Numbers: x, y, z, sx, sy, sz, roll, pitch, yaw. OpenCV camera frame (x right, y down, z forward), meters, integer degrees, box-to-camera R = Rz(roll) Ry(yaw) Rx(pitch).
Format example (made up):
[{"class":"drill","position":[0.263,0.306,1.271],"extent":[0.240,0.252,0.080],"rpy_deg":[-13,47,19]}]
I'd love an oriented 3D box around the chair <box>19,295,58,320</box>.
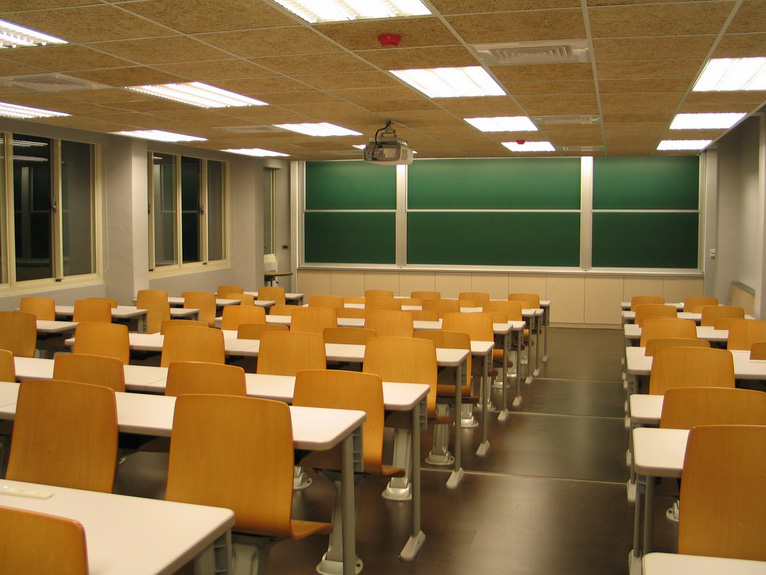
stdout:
[{"class":"chair","position":[-4.274,0.246,7.092],"extent":[0.289,0.211,0.284],"rpy_deg":[3,7,5]}]

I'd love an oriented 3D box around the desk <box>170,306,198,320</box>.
[{"class":"desk","position":[-2.631,0.376,7.574],"extent":[0.343,0.202,1.016],"rpy_deg":[-1,5,-19]}]

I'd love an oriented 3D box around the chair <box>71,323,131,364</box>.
[{"class":"chair","position":[-2.322,0.453,4.730],"extent":[0.336,0.427,0.341],"rpy_deg":[2,3,-7]}]

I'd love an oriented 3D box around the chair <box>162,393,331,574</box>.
[{"class":"chair","position":[-0.563,0.821,2.761],"extent":[0.734,0.765,0.593],"rpy_deg":[1,-2,14]}]

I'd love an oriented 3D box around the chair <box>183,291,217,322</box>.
[{"class":"chair","position":[-2.597,0.254,8.216],"extent":[0.498,0.645,0.522],"rpy_deg":[0,-2,-9]}]

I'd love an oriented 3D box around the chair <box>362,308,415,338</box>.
[{"class":"chair","position":[0.067,0.362,6.033],"extent":[0.327,0.422,0.333],"rpy_deg":[2,0,10]}]

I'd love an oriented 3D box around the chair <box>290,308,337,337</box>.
[{"class":"chair","position":[-0.765,0.342,6.217],"extent":[0.350,0.382,0.320],"rpy_deg":[1,1,2]}]

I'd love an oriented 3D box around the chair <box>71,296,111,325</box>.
[{"class":"chair","position":[-3.539,0.278,6.977],"extent":[0.420,0.272,0.419],"rpy_deg":[-2,6,-27]}]

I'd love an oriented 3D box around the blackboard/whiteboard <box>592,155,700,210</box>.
[{"class":"blackboard/whiteboard","position":[5.691,-2.242,12.435],"extent":[2.099,1.087,0.132],"rpy_deg":[2,6,12]}]

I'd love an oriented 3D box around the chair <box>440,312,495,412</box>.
[{"class":"chair","position":[0.826,0.678,5.912],"extent":[0.797,0.734,0.682],"rpy_deg":[-4,7,4]}]

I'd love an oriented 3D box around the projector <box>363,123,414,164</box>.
[{"class":"projector","position":[0.070,-1.994,7.958],"extent":[0.622,0.556,0.570],"rpy_deg":[4,14,16]}]

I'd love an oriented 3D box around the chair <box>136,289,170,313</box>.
[{"class":"chair","position":[-3.233,0.150,7.996],"extent":[0.422,0.521,0.434],"rpy_deg":[0,2,-17]}]

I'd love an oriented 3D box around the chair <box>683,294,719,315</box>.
[{"class":"chair","position":[4.630,0.228,8.335],"extent":[0.385,0.255,0.519],"rpy_deg":[3,9,20]}]

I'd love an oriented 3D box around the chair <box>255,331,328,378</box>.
[{"class":"chair","position":[-0.683,0.464,4.385],"extent":[0.377,0.506,0.397],"rpy_deg":[1,-1,6]}]

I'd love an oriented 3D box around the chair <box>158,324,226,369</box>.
[{"class":"chair","position":[-1.517,0.439,4.699],"extent":[0.396,0.588,0.412],"rpy_deg":[1,1,-4]}]

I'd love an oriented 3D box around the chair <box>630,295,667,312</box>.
[{"class":"chair","position":[3.764,0.231,8.161],"extent":[0.217,0.210,0.151],"rpy_deg":[5,10,35]}]
